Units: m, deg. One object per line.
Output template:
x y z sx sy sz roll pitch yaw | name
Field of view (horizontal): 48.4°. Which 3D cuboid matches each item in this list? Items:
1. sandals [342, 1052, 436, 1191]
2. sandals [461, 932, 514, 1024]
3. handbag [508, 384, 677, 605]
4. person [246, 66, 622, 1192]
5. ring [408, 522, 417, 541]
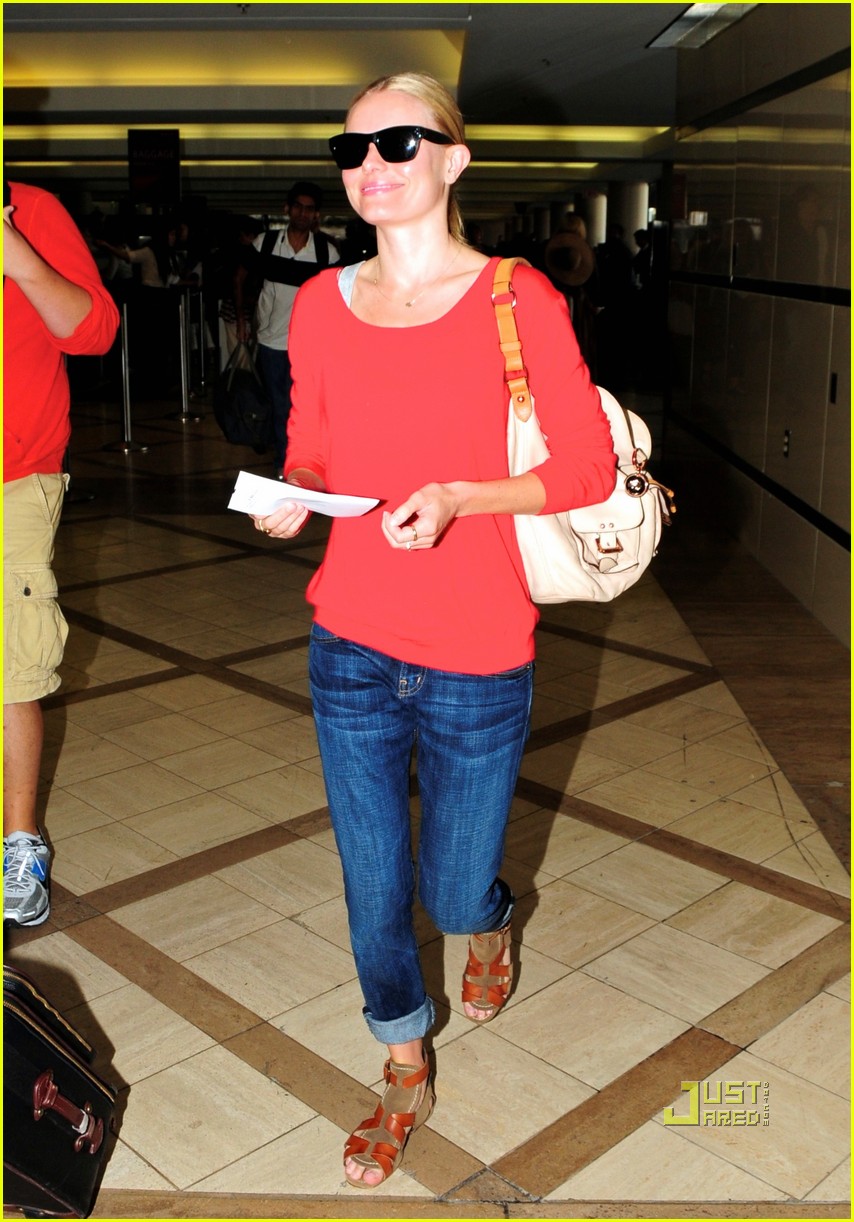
-0.056 0.758 1.450 0.084 0.094 0.242 1 10 20 | sandals
0.133 0.676 1.807 0.093 0.096 0.236 -1 29 10 | sandals
0.252 -0.171 1.407 0.351 0.300 0.262 1 17 11 | handbag
0.021 0.071 1.302 0.457 1.609 0.566 0 10 2 | person
-0.016 -0.082 0.993 0.016 0.019 0.007 3 1 -1 | ring
